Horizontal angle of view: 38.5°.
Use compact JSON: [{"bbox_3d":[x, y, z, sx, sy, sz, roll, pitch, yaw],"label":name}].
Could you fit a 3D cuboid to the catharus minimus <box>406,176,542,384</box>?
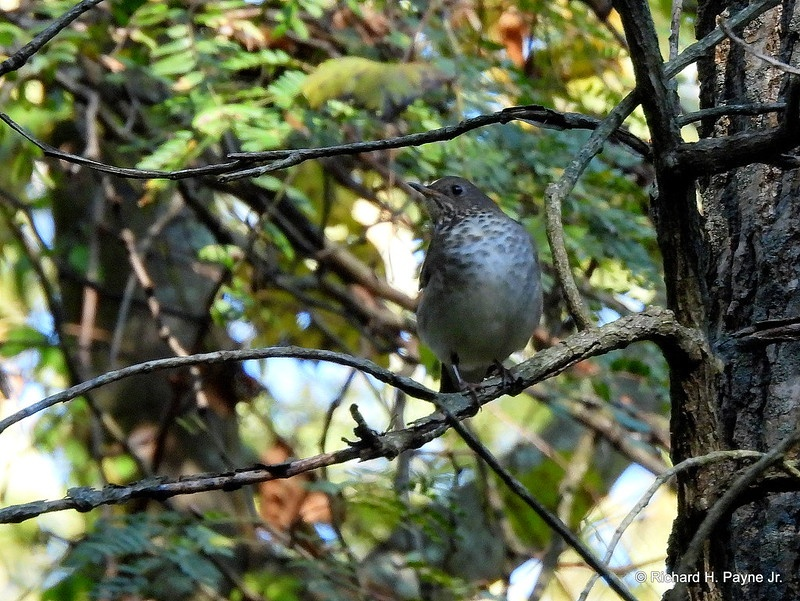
[{"bbox_3d":[0.405,-0.130,6.185,0.706,1.069,1.155,-8,-32,-4],"label":"catharus minimus"}]
